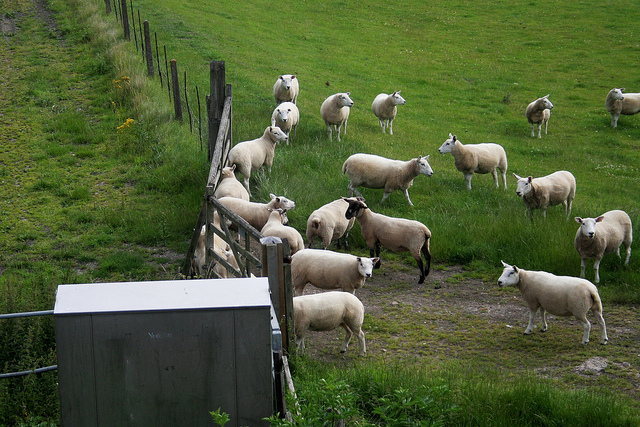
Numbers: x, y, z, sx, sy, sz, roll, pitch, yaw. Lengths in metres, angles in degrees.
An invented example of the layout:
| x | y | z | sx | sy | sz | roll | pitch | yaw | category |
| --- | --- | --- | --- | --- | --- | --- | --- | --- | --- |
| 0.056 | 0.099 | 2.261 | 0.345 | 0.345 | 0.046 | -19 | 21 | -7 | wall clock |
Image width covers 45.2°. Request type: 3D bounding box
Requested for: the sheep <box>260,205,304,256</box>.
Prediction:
| x | y | z | sx | sy | sz | roll | pitch | yaw | category |
| --- | --- | --- | --- | --- | --- | --- | --- | --- | --- |
| -1.179 | 0.492 | 23.031 | 0.761 | 1.327 | 1.701 | -2 | 27 | -20 | sheep |

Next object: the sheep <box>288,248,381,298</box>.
| x | y | z | sx | sy | sz | roll | pitch | yaw | category |
| --- | --- | --- | --- | --- | --- | --- | --- | --- | --- |
| 0.411 | 1.702 | 22.394 | 2.375 | 1.448 | 1.187 | 4 | 19 | 4 | sheep |

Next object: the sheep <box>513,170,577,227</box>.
| x | y | z | sx | sy | sz | roll | pitch | yaw | category |
| --- | --- | --- | --- | --- | --- | --- | --- | --- | --- |
| 7.855 | -0.505 | 26.504 | 2.895 | 1.918 | 1.032 | -8 | 7 | -34 | sheep |

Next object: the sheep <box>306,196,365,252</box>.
| x | y | z | sx | sy | sz | roll | pitch | yaw | category |
| --- | --- | --- | --- | --- | --- | --- | --- | --- | --- |
| 0.439 | 0.400 | 24.585 | 0.904 | 1.733 | 2.490 | 7 | 13 | 31 | sheep |

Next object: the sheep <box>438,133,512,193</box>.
| x | y | z | sx | sy | sz | roll | pitch | yaw | category |
| --- | --- | --- | --- | --- | --- | --- | --- | --- | --- |
| 5.797 | -1.874 | 29.021 | 2.705 | 2.286 | 1.061 | -3 | 14 | -15 | sheep |

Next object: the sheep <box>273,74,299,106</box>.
| x | y | z | sx | sy | sz | roll | pitch | yaw | category |
| --- | --- | --- | --- | --- | --- | --- | --- | --- | --- |
| -1.415 | -5.187 | 32.203 | 0.907 | 1.232 | 1.629 | 0 | 11 | -3 | sheep |

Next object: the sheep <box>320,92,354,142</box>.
| x | y | z | sx | sy | sz | roll | pitch | yaw | category |
| --- | --- | --- | --- | --- | --- | --- | --- | --- | --- |
| 0.680 | -3.934 | 31.041 | 1.302 | 1.927 | 0.759 | 6 | 11 | 28 | sheep |

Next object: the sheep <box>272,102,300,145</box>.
| x | y | z | sx | sy | sz | roll | pitch | yaw | category |
| --- | --- | --- | --- | --- | --- | --- | --- | --- | --- |
| -1.342 | -3.535 | 30.045 | 0.802 | 1.522 | 2.728 | 3 | 18 | 3 | sheep |

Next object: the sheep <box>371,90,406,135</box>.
| x | y | z | sx | sy | sz | roll | pitch | yaw | category |
| --- | --- | --- | --- | --- | --- | --- | --- | --- | --- |
| 2.906 | -4.442 | 33.757 | 0.928 | 1.900 | 2.442 | -1 | 11 | -8 | sheep |

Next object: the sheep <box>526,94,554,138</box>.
| x | y | z | sx | sy | sz | roll | pitch | yaw | category |
| --- | --- | --- | --- | --- | --- | --- | --- | --- | --- |
| 10.071 | -4.538 | 36.227 | 0.837 | 1.918 | 2.933 | -3 | 5 | -7 | sheep |

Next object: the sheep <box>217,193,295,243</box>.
| x | y | z | sx | sy | sz | roll | pitch | yaw | category |
| --- | --- | --- | --- | --- | --- | --- | --- | --- | --- |
| -2.074 | 0.055 | 23.996 | 2.601 | 1.880 | 1.109 | 1 | 12 | -12 | sheep |
